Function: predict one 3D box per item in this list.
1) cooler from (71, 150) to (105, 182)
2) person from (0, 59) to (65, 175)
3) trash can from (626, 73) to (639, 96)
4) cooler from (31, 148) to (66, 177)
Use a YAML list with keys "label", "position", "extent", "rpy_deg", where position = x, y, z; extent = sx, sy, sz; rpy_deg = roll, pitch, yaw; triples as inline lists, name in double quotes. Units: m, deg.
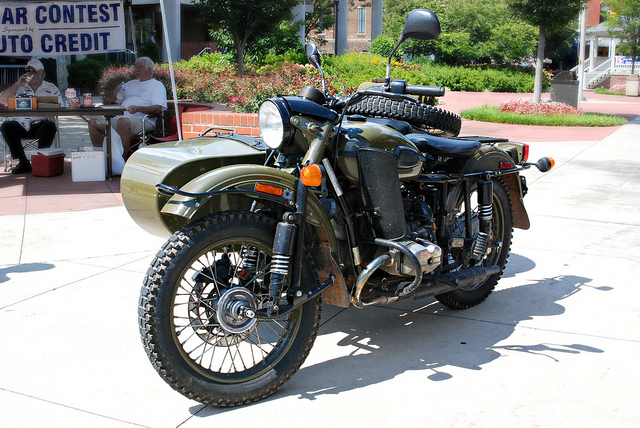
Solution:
- label: "cooler"
  position: [-3.655, -0.762, 9.477]
  extent: [0.515, 0.375, 0.515]
  rpy_deg: [-1, 4, 3]
- label: "person"
  position: [-4.893, -1.672, 10.106]
  extent: [0.956, 1.895, 1.154]
  rpy_deg: [-2, 13, -23]
- label: "trash can"
  position: [20.326, -8.342, 38.386]
  extent: [0.814, 1.369, 0.901]
  rpy_deg: [8, 13, 22]
- label: "cooler"
  position: [-4.489, -0.853, 9.782]
  extent: [0.401, 0.384, 0.564]
  rpy_deg: [6, 12, 10]
